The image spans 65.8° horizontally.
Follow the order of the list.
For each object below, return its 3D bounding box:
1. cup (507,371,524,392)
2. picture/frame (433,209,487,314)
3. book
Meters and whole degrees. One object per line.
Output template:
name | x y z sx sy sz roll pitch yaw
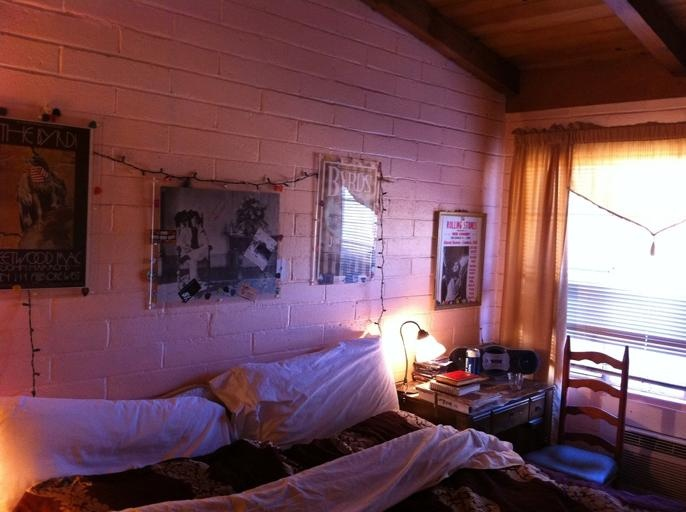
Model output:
cup | 1.165 0.845 3.562 0.102 0.132 0.103 -1 -4 0
picture/frame | 0.839 0.026 3.887 0.757 0.939 0.063 2 0 -44
book | 0.748 0.776 3.263 0.254 0.108 0.356 12 14 35
